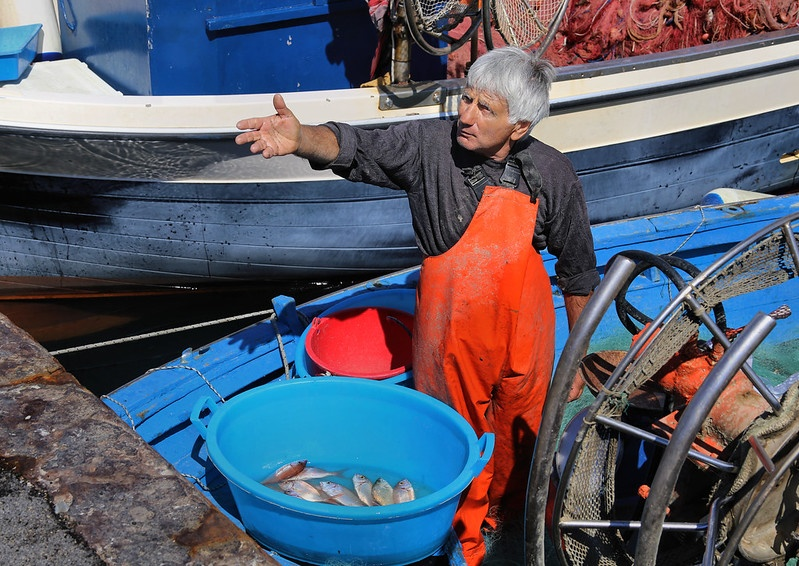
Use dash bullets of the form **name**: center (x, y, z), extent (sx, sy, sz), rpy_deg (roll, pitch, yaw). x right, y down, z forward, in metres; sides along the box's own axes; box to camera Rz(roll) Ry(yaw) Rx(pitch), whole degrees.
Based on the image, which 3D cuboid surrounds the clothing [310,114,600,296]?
- **clothing**: center (0.229, -0.349, 2.774), extent (1.291, 0.606, 0.606), rpy_deg (9, 41, -5)

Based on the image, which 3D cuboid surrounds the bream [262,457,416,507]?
- **bream**: center (-0.264, 0.845, 2.770), extent (0.364, 0.065, 0.138), rpy_deg (9, 29, 3)
